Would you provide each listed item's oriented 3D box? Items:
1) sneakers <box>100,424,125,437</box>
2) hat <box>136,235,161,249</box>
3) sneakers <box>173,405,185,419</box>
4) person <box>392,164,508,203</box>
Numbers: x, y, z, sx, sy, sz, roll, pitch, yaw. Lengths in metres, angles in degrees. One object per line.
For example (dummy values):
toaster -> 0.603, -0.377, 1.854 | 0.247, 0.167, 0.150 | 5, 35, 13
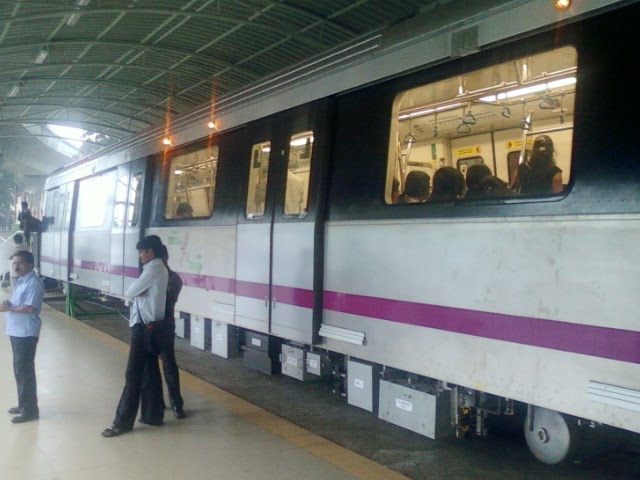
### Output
sneakers -> -2.313, 2.118, 5.818 | 0.233, 0.080, 0.107 | 8, -5, -30
hat -> -2.053, 0.011, 6.245 | 0.241, 0.129, 0.152 | 3, 0, 2
sneakers -> -1.718, 2.089, 6.336 | 0.071, 0.099, 0.220 | -2, 11, -21
person -> 1.336, -0.575, 5.280 | 1.232, 0.367, 0.255 | 3, 1, 43
